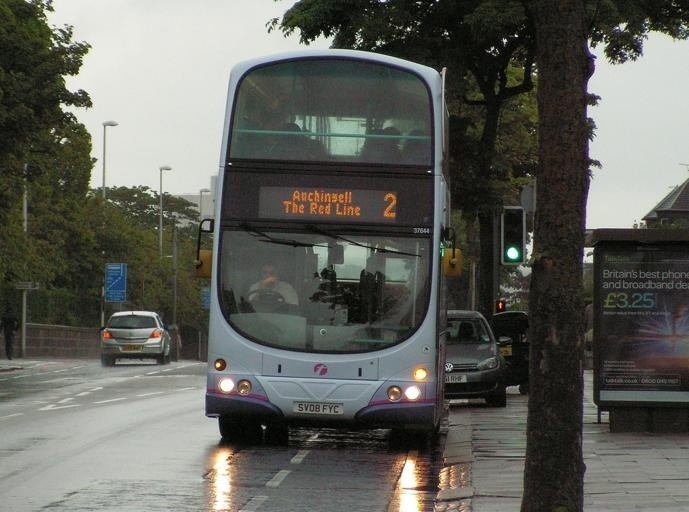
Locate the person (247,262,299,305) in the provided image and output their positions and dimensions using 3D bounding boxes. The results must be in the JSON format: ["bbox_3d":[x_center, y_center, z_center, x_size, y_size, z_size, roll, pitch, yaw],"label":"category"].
[{"bbox_3d":[-0.982,0.523,15.366,0.754,0.663,0.461,-1,-8,4],"label":"person"}]

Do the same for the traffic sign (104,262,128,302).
[{"bbox_3d":[-11.853,1.356,57.407,1.156,1.980,0.001,0,4,-34],"label":"traffic sign"}]

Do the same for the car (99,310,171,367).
[{"bbox_3d":[-6.855,2.705,36.969,1.367,1.891,2.393,-4,-9,41],"label":"car"}]

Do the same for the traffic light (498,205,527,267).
[{"bbox_3d":[3.121,-0.398,20.637,0.450,1.128,0.457,1,-6,5],"label":"traffic light"}]

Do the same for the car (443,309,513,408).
[{"bbox_3d":[2.581,1.969,21.878,1.164,1.919,1.853,1,-6,6],"label":"car"}]
